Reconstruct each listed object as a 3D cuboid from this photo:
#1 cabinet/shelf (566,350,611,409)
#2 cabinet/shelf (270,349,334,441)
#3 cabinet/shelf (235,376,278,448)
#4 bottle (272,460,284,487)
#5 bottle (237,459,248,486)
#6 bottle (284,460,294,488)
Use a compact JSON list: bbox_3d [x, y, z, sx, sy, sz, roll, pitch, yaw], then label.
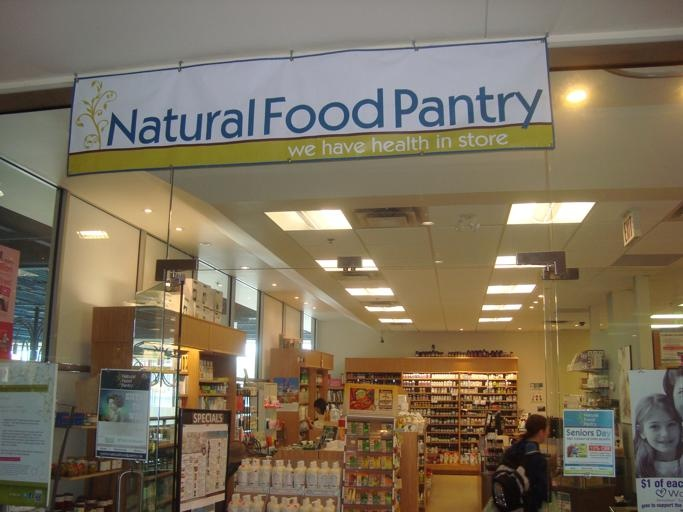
[{"bbox_3d":[1.681,0.798,3.829,0.169,0.313,0.323,-2,1,19],"label":"cabinet/shelf"},{"bbox_3d":[-0.816,3.386,13.967,0.654,2.193,3.606,-3,-10,10],"label":"cabinet/shelf"},{"bbox_3d":[-1.620,3.071,11.859,0.890,0.881,0.510,-2,-11,45],"label":"cabinet/shelf"},{"bbox_3d":[-0.632,2.162,5.702,0.137,0.251,0.140,-1,-11,0],"label":"bottle"},{"bbox_3d":[-0.975,2.206,5.841,0.148,0.273,0.153,0,-6,0],"label":"bottle"},{"bbox_3d":[-0.521,2.167,5.726,0.090,0.238,0.168,3,-13,-3],"label":"bottle"}]
